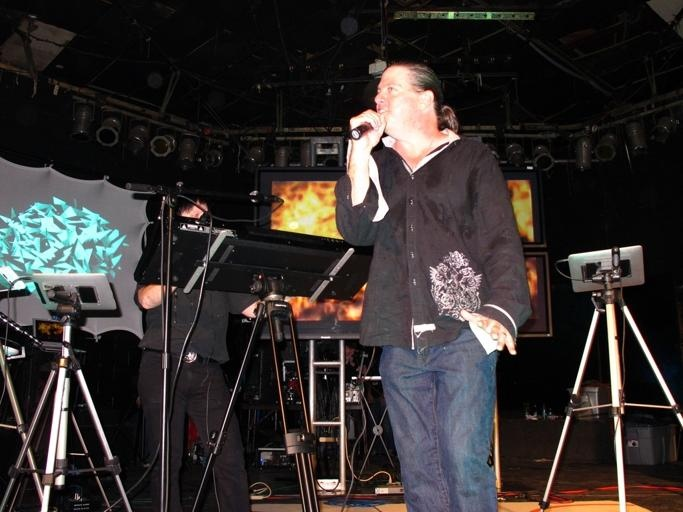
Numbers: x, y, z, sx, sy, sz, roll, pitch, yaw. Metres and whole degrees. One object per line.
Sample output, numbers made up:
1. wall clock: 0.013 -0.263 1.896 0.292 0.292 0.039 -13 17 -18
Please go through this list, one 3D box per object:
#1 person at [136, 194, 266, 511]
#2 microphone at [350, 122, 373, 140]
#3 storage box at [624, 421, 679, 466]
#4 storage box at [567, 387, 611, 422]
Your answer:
1. person: -1.106 0.775 5.890 0.853 2.562 0.960 0 -3 -8
2. microphone: 0.132 -0.800 4.664 0.045 0.055 0.180 -19 13 36
3. storage box: 3.699 2.244 8.913 0.585 0.511 0.544 1 -6 -10
4. storage box: 2.983 1.870 8.836 0.341 0.490 0.500 -9 -38 25
